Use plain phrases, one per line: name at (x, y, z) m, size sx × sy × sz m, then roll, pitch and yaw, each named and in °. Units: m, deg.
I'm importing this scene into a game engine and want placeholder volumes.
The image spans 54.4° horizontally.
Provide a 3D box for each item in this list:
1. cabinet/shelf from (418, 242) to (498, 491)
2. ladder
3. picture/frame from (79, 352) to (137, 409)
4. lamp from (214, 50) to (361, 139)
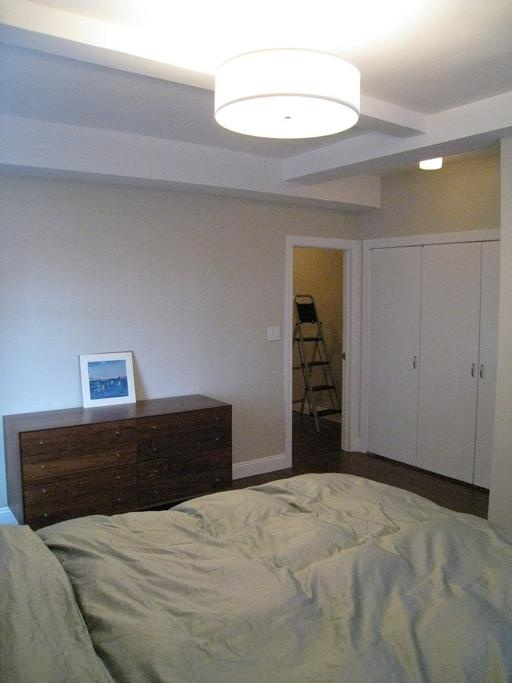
cabinet/shelf at (1.580, -0.114, 4.018) m, size 0.560 × 1.427 × 0.157 m, roll 0°, pitch 24°, yaw 19°
ladder at (0.767, 0.190, 6.343) m, size 0.616 × 1.581 × 0.823 m, roll 0°, pitch 0°, yaw 5°
picture/frame at (-1.004, 0.256, 3.298) m, size 0.308 × 0.335 × 0.013 m, roll -6°, pitch -1°, yaw -40°
lamp at (0.103, -0.784, 1.616) m, size 0.480 × 0.136 × 0.514 m, roll 0°, pitch 10°, yaw -7°
